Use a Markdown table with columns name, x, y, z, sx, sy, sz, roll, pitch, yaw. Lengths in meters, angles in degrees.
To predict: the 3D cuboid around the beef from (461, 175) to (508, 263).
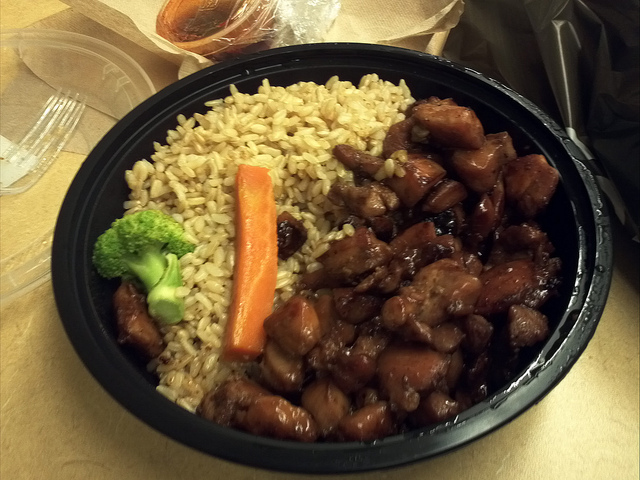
| name | x | y | z | sx | sy | sz | roll | pitch | yaw |
| --- | --- | --- | --- | --- | --- | --- | --- | --- | --- |
| beef | 0.737 | -0.091 | 2.166 | 0.232 | 0.092 | 0.338 | 36 | 112 | 52 |

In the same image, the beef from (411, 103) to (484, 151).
| name | x | y | z | sx | sy | sz | roll | pitch | yaw |
| --- | --- | --- | --- | --- | --- | --- | --- | --- | --- |
| beef | 0.558 | -0.509 | 2.286 | 0.411 | 0.140 | 0.298 | 6 | 34 | 42 |

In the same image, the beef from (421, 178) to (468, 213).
| name | x | y | z | sx | sy | sz | roll | pitch | yaw |
| --- | --- | --- | --- | --- | --- | --- | --- | --- | --- |
| beef | 0.548 | -0.209 | 2.198 | 0.130 | 0.260 | 0.081 | 29 | 127 | 50 |

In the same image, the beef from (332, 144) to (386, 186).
| name | x | y | z | sx | sy | sz | roll | pitch | yaw |
| --- | --- | --- | --- | --- | --- | --- | --- | --- | --- |
| beef | 0.183 | -0.352 | 2.277 | 0.218 | 0.205 | 0.046 | 27 | 102 | -12 |

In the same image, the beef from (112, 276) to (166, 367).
| name | x | y | z | sx | sy | sz | roll | pitch | yaw |
| --- | --- | --- | --- | --- | --- | --- | --- | --- | --- |
| beef | -0.762 | 0.333 | 2.031 | 0.112 | 0.228 | 0.335 | -25 | 82 | 36 |

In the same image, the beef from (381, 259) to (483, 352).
| name | x | y | z | sx | sy | sz | roll | pitch | yaw |
| --- | --- | --- | --- | --- | --- | --- | --- | --- | --- |
| beef | 0.455 | 0.248 | 1.988 | 0.373 | 0.141 | 0.374 | 14 | 84 | 2 |

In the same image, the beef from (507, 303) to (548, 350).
| name | x | y | z | sx | sy | sz | roll | pitch | yaw |
| --- | --- | --- | --- | --- | --- | --- | --- | --- | --- |
| beef | 0.830 | 0.346 | 1.965 | 0.182 | 0.054 | 0.163 | 25 | 78 | -1 |

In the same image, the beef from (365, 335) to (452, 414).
| name | x | y | z | sx | sy | sz | roll | pitch | yaw |
| --- | --- | --- | --- | --- | --- | --- | --- | --- | --- |
| beef | 0.359 | 0.502 | 1.913 | 0.283 | 0.101 | 0.306 | 30 | 71 | 34 |

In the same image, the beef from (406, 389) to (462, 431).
| name | x | y | z | sx | sy | sz | roll | pitch | yaw |
| --- | --- | --- | --- | --- | --- | --- | --- | --- | --- |
| beef | 0.432 | 0.640 | 1.914 | 0.177 | 0.193 | 0.103 | -34 | 75 | 27 |

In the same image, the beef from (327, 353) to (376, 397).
| name | x | y | z | sx | sy | sz | roll | pitch | yaw |
| --- | --- | --- | --- | --- | --- | --- | --- | --- | --- |
| beef | 0.135 | 0.520 | 1.956 | 0.189 | 0.071 | 0.162 | -37 | 89 | 6 |

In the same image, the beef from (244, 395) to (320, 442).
| name | x | y | z | sx | sy | sz | roll | pitch | yaw |
| --- | --- | --- | --- | --- | --- | --- | --- | --- | --- |
| beef | -0.123 | 0.678 | 1.907 | 0.289 | 0.146 | 0.128 | 10 | 63 | 9 |

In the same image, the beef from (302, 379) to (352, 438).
| name | x | y | z | sx | sy | sz | roll | pitch | yaw |
| --- | --- | --- | --- | --- | --- | --- | --- | --- | --- |
| beef | 0.018 | 0.648 | 1.889 | 0.173 | 0.084 | 0.191 | 5 | 70 | 7 |

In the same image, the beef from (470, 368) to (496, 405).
| name | x | y | z | sx | sy | sz | roll | pitch | yaw |
| --- | --- | --- | --- | --- | --- | --- | --- | --- | --- |
| beef | 0.678 | 0.612 | 2.054 | 0.085 | 0.038 | 0.160 | 37 | 69 | 17 |
